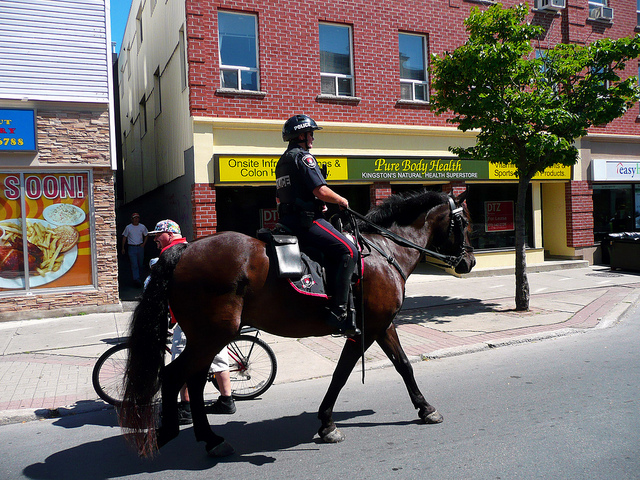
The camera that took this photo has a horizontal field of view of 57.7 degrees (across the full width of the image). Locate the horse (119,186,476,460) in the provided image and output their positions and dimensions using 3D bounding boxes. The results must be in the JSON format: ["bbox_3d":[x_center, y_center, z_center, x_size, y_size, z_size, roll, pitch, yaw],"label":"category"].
[{"bbox_3d":[-0.096,1.136,8.175,5.091,3.445,1.320,-3,3,-13],"label":"horse"}]

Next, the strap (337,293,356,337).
[{"bbox_3d":[0.347,0.950,7.623,0.268,0.587,0.123,2,-9,-33],"label":"strap"}]

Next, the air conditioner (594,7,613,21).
[{"bbox_3d":[9.975,-7.898,20.331,0.527,0.414,0.518,2,-2,9],"label":"air conditioner"}]

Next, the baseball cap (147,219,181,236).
[{"bbox_3d":[-2.353,-0.181,8.603,0.469,0.271,0.332,4,-7,-10],"label":"baseball cap"}]

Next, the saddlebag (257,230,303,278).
[{"bbox_3d":[-0.481,0.211,7.486,0.469,0.580,0.186,7,-31,-33],"label":"saddlebag"}]
